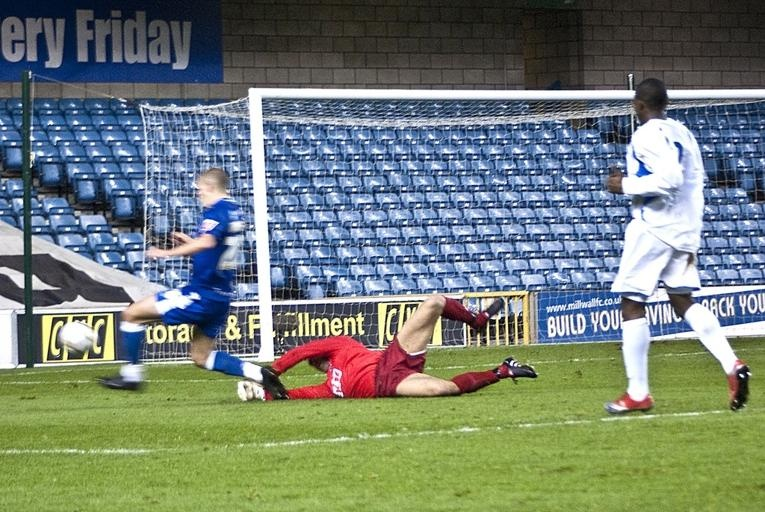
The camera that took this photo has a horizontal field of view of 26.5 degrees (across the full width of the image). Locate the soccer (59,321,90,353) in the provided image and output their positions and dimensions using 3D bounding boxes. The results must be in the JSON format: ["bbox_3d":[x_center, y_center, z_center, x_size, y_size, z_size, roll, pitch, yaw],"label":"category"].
[{"bbox_3d":[-4.664,1.247,24.873,0.484,0.420,0.331,-5,-6,-8],"label":"soccer"}]

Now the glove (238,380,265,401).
[{"bbox_3d":[-1.986,2.048,24.529,0.370,0.179,0.279,2,-5,45],"label":"glove"}]
